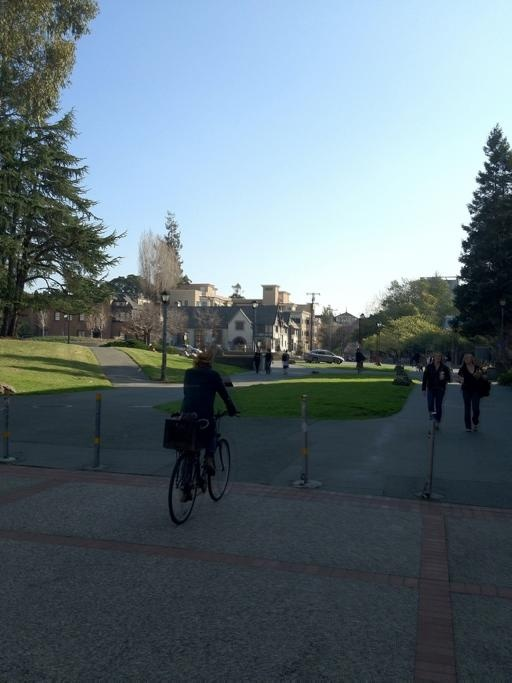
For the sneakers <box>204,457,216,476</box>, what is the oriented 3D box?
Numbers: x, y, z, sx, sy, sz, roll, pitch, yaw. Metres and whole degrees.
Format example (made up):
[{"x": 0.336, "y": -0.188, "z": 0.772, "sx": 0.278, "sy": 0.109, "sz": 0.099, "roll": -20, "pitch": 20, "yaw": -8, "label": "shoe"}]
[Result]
[{"x": -0.529, "y": 1.416, "z": 6.967, "sx": 0.081, "sy": 0.242, "sz": 0.167, "roll": -3, "pitch": 19, "yaw": 1, "label": "sneakers"}]

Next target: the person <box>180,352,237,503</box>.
[{"x": -0.578, "y": 0.870, "z": 7.075, "sx": 0.756, "sy": 1.428, "sz": 0.731, "roll": 7, "pitch": -16, "yaw": -23, "label": "person"}]

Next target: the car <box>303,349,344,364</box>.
[{"x": 7.562, "y": 1.805, "z": 69.619, "sx": 3.826, "sy": 1.350, "sz": 1.788, "roll": -1, "pitch": 2, "yaw": 6, "label": "car"}]
